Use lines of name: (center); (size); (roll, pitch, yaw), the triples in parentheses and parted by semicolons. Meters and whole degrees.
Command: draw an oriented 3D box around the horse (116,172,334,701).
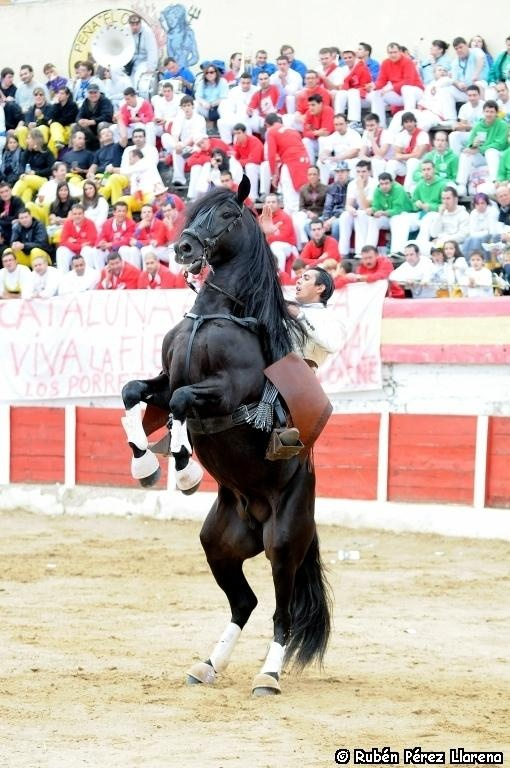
horse: (-0.061, 0.299, 6.058); (1.210, 2.693, 0.767); (-4, 4, -30)

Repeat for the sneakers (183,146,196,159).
sneakers: (-0.852, -2.970, 15.212); (0.185, 0.062, 0.127); (-33, 2, 4)

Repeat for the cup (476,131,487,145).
cup: (2.433, -2.641, 12.766); (0.149, 0.123, 0.127); (8, 4, 9)

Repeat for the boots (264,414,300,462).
boots: (0.142, 0.288, 5.840); (0.139, 0.174, 0.198); (9, -24, -4)

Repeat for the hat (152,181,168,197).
hat: (-1.186, -2.383, 14.510); (0.247, 0.102, 0.228); (-24, 0, -2)
